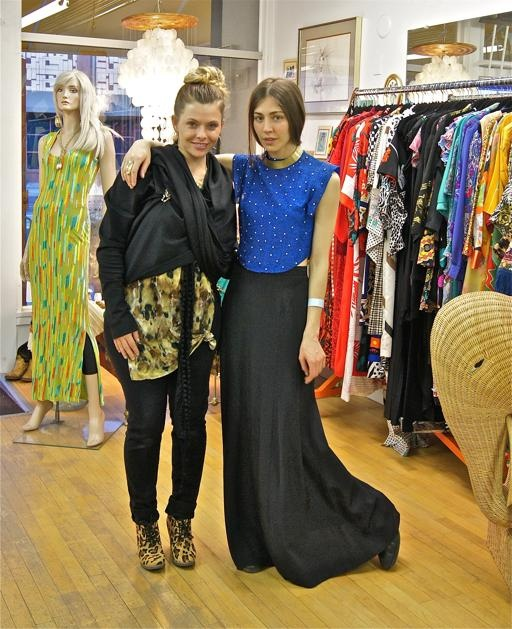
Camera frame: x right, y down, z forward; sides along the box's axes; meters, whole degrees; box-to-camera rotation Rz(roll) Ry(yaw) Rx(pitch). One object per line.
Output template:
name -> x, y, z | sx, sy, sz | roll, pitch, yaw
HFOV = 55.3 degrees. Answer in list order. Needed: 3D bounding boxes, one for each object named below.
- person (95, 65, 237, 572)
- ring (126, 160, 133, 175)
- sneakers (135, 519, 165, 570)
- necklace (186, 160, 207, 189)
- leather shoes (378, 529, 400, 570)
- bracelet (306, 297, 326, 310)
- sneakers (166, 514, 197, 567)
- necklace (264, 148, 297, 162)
person -> -0.250, 0.082, 1.402 | 0.375, 1.458, 0.352 | 1, 4, -4
ring -> -0.307, -0.358, 1.190 | 0.018, 0.031, 0.007 | 7, -6, 28
sneakers -> -0.334, 0.726, 1.561 | 0.061, 0.083, 0.190 | 0, -3, -9
necklace -> -0.167, -0.378, 1.351 | 0.059, 0.078, 0.035 | -7, 0, -28
leather shoes -> 0.429, 0.757, 1.583 | 0.032, 0.117, 0.062 | 6, 0, -23
bracelet -> 0.174, -0.032, 1.439 | 0.042, 0.031, 0.024 | 2, 4, 11
sneakers -> -0.237, 0.725, 1.570 | 0.059, 0.078, 0.182 | 1, 5, -11
necklace -> 0.062, -0.446, 1.381 | 0.098, 0.030, 0.024 | 3, 4, 23
